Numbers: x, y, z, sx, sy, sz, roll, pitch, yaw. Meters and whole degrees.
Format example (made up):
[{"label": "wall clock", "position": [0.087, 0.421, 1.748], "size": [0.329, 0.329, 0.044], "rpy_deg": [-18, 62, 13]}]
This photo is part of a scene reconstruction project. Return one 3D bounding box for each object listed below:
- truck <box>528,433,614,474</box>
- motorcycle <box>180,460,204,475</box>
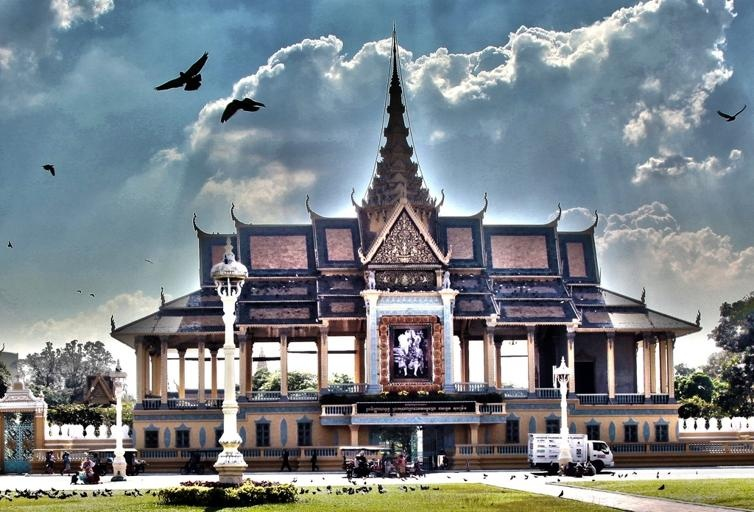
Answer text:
[{"label": "truck", "position": [13.459, 13.299, 96.295], "size": [5.420, 2.492, 2.694], "rpy_deg": [0, -5, -8]}, {"label": "motorcycle", "position": [-13.137, 14.958, 100.692], "size": [1.592, 0.829, 0.702], "rpy_deg": [0, -13, 14]}]
